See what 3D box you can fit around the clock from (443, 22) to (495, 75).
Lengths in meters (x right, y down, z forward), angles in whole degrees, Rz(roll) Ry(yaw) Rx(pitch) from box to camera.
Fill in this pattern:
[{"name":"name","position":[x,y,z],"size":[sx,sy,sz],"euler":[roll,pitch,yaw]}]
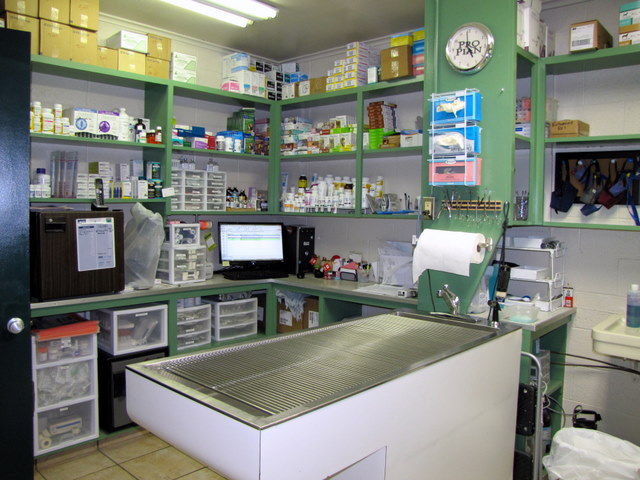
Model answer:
[{"name":"clock","position":[1.018,-1.305,3.283],"size":[0.313,0.318,0.071],"euler":[15,15,36]}]

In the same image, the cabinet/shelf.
[{"name":"cabinet/shelf","position":[-0.017,-0.345,3.996],"size":[3.343,2.679,3.378],"euler":[2,2,43]}]

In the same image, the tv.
[{"name":"tv","position":[-0.709,0.079,4.873],"size":[0.842,0.773,0.473],"euler":[-1,-7,-17]}]
